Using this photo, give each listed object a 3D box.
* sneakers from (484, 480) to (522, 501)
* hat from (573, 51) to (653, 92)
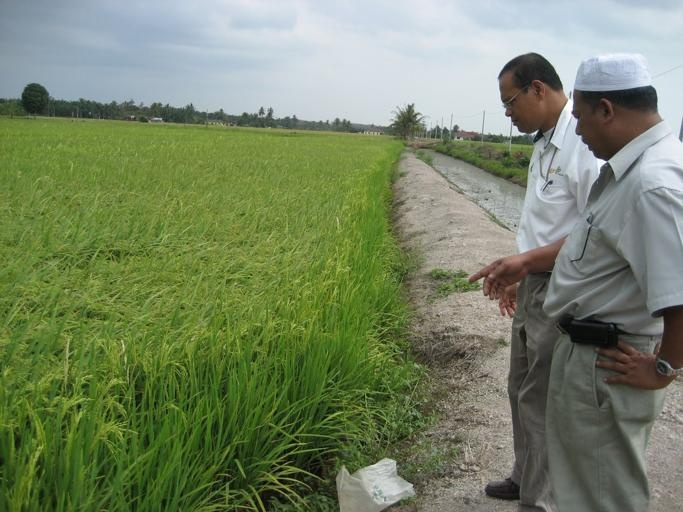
[{"bbox_3d":[0.915,1.333,3.042,0.191,0.089,0.083,5,6,21],"label":"sneakers"},{"bbox_3d":[1.136,-0.772,2.256,0.249,0.164,0.223,-3,12,-25],"label":"hat"}]
